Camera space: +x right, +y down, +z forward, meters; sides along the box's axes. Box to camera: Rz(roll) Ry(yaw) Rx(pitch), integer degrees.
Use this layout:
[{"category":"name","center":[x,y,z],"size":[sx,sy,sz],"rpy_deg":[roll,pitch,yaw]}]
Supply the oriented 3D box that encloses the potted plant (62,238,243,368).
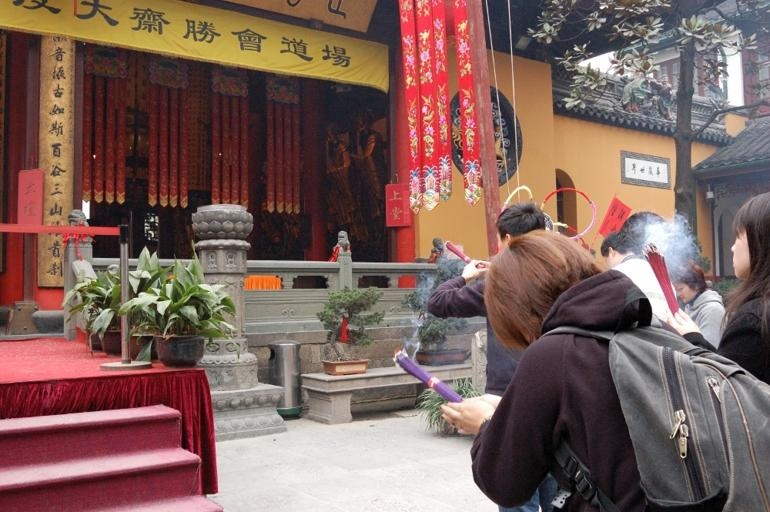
[{"category":"potted plant","center":[-2.022,0.367,5.141],"size":[0.883,0.871,2.135],"rpy_deg":[0,1,-37]}]

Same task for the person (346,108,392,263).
[{"category":"person","center":[-0.345,-1.387,12.978],"size":[0.396,2.932,1.216],"rpy_deg":[0,1,-34]}]

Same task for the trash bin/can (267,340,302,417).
[{"category":"trash bin/can","center":[-1.194,1.446,7.521],"size":[0.395,0.884,0.364],"rpy_deg":[0,0,-8]}]

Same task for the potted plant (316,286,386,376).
[{"category":"potted plant","center":[-0.436,0.890,7.751],"size":[0.724,1.053,1.040],"rpy_deg":[0,0,-4]}]
